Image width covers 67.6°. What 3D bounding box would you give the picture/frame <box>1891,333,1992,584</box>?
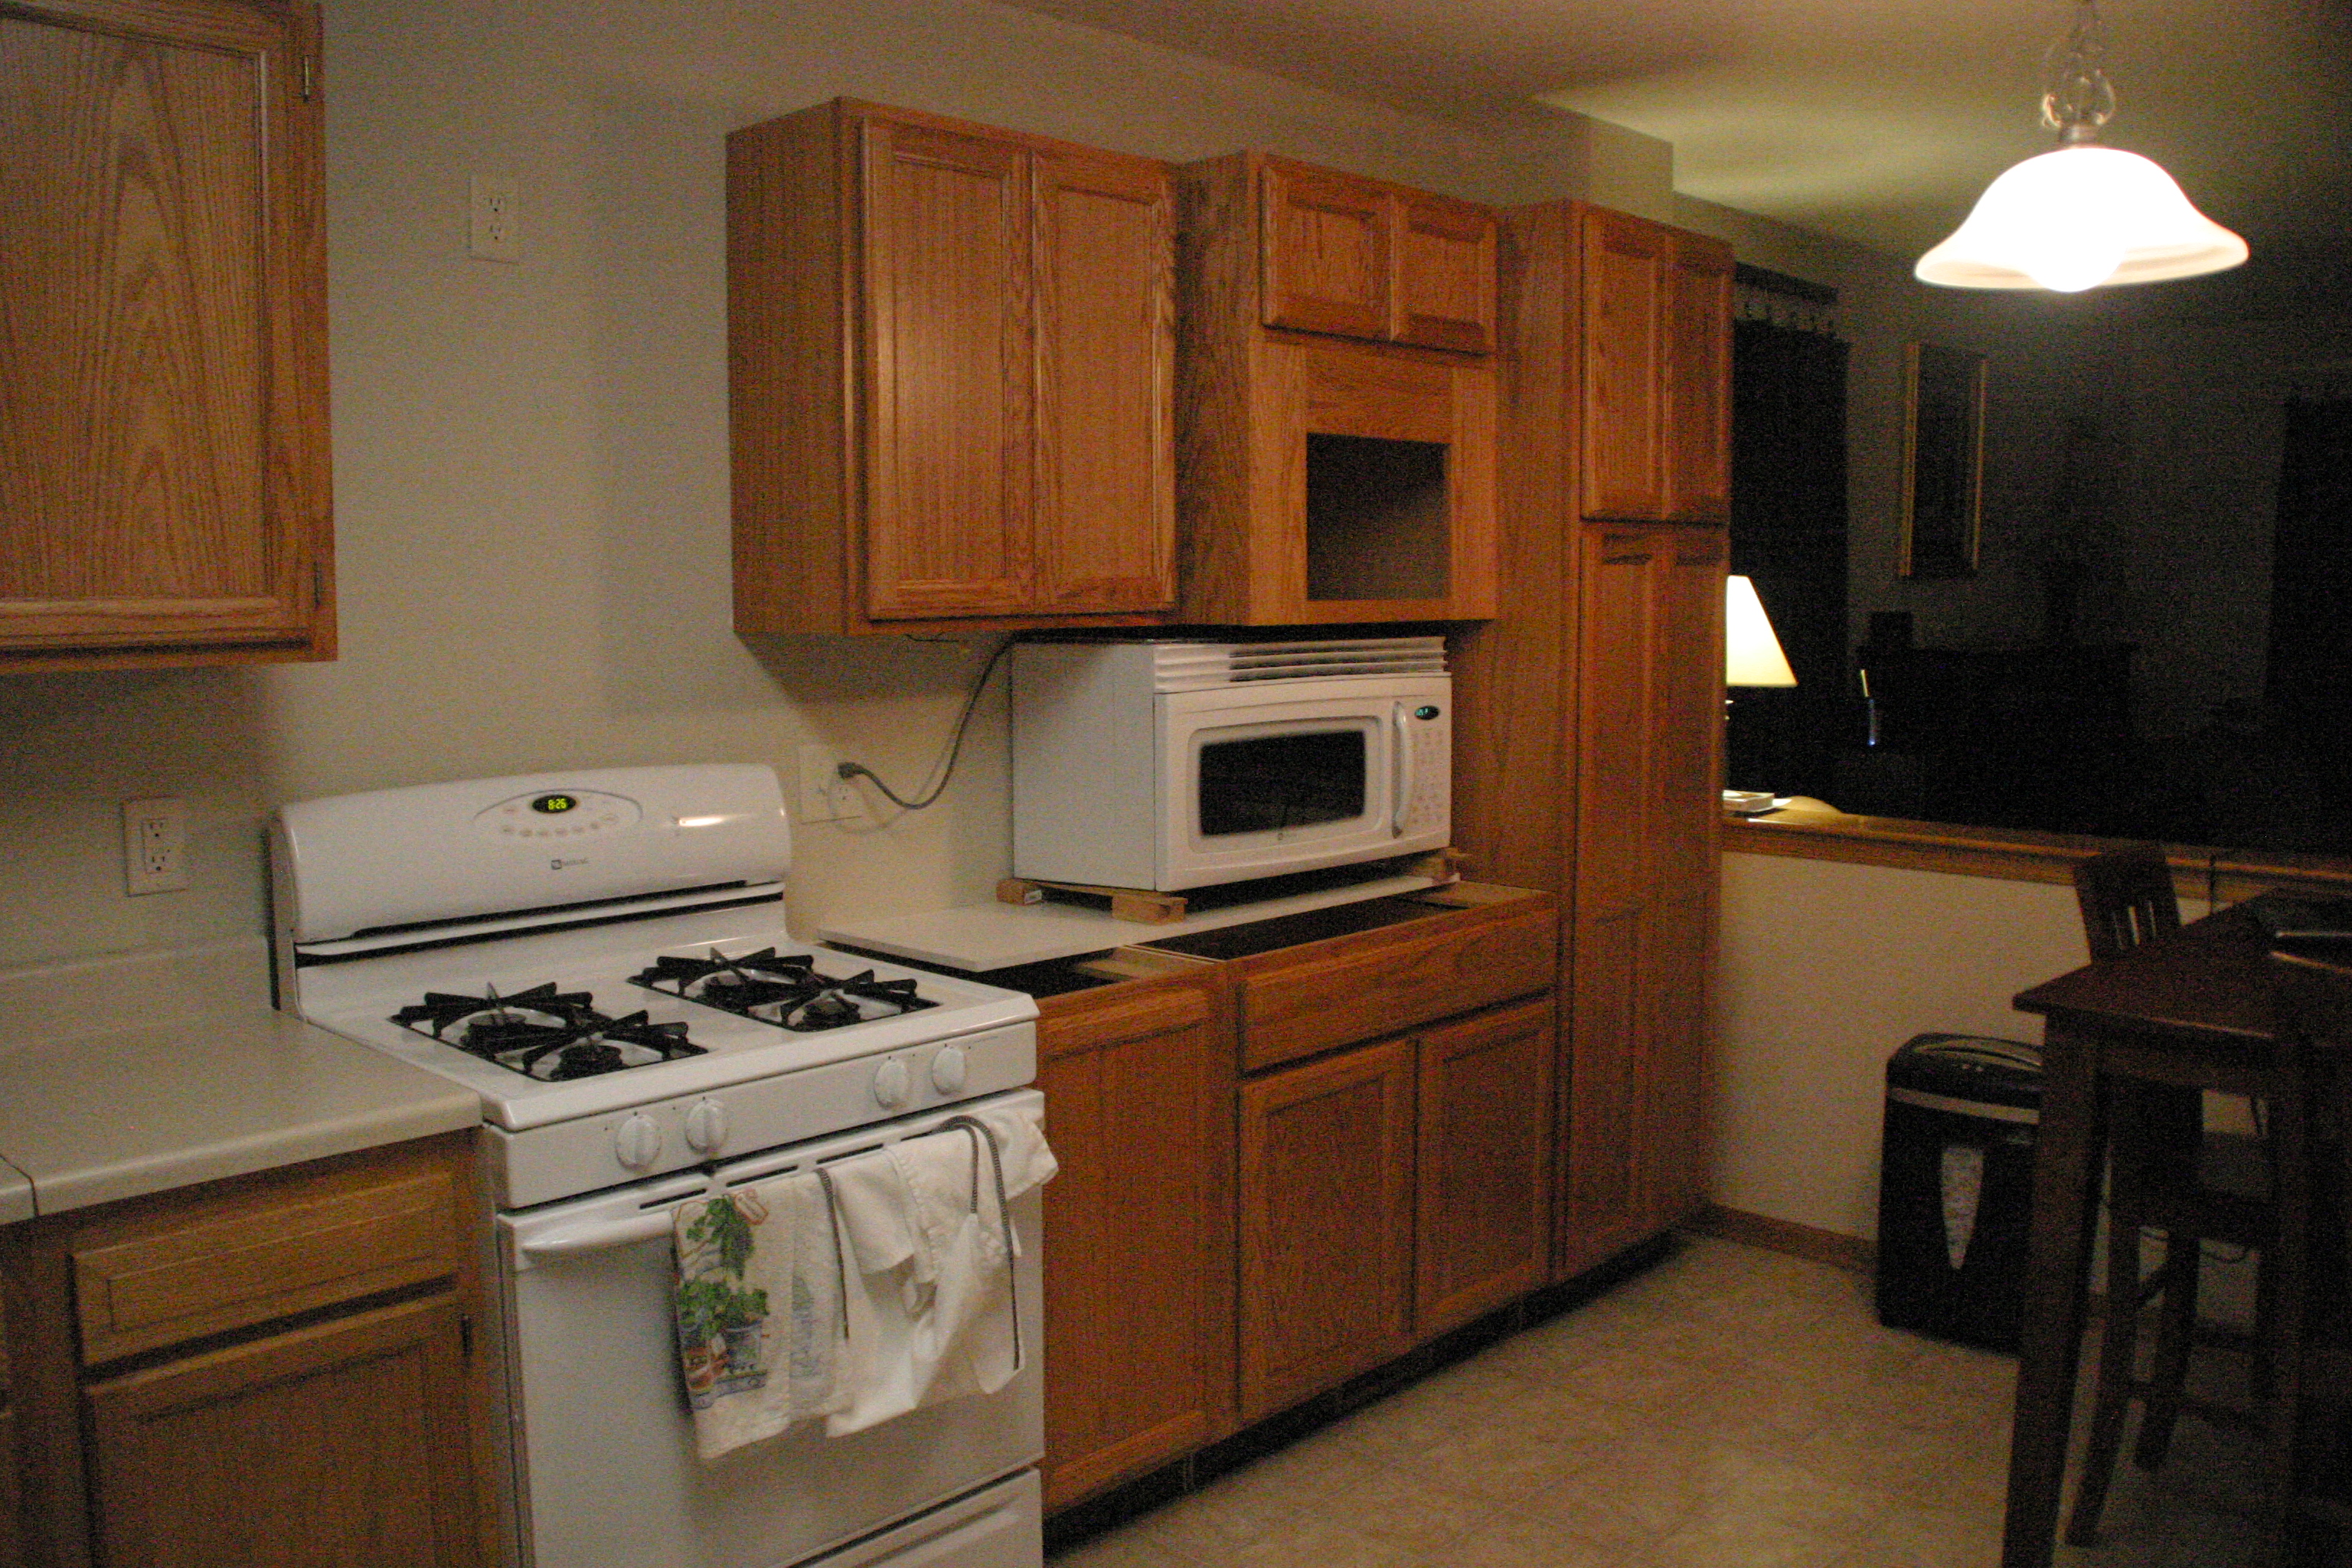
[{"bbox_3d":[2.583,-1.093,5.953,0.386,0.782,0.154,-5,14,-17],"label":"picture/frame"}]

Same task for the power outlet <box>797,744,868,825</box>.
[{"bbox_3d":[-0.708,-0.006,3.571,0.019,0.159,0.170,0,2,43],"label":"power outlet"}]

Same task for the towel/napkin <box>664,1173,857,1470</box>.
[{"bbox_3d":[-0.638,0.809,2.724,0.261,0.389,0.095,-9,16,-33],"label":"towel/napkin"}]

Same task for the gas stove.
[{"bbox_3d":[-0.883,0.461,2.887,0.569,0.189,0.631,3,5,38],"label":"gas stove"}]

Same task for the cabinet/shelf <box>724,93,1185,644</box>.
[{"bbox_3d":[-0.434,-0.785,3.407,0.889,0.981,0.503,-2,13,-5],"label":"cabinet/shelf"}]

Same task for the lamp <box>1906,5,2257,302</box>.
[{"bbox_3d":[1.733,-1.227,3.277,0.491,0.624,1.074,7,15,29],"label":"lamp"}]

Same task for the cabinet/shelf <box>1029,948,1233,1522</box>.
[{"bbox_3d":[-0.078,0.846,3.386,0.177,0.952,0.545,12,18,41],"label":"cabinet/shelf"}]

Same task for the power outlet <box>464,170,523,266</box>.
[{"bbox_3d":[-1.220,-1.012,3.145,0.106,0.152,0.024,-13,18,-42],"label":"power outlet"}]
